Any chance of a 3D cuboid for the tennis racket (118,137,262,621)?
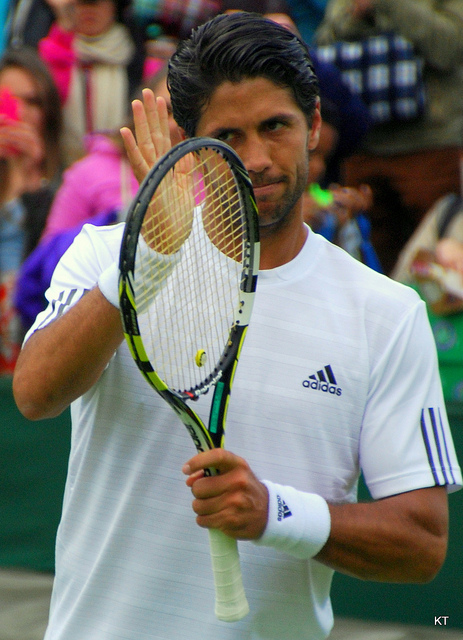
[{"bbox_3d":[-0.057,0.130,2.289,0.342,1.067,0.119,-4,25,3],"label":"tennis racket"}]
